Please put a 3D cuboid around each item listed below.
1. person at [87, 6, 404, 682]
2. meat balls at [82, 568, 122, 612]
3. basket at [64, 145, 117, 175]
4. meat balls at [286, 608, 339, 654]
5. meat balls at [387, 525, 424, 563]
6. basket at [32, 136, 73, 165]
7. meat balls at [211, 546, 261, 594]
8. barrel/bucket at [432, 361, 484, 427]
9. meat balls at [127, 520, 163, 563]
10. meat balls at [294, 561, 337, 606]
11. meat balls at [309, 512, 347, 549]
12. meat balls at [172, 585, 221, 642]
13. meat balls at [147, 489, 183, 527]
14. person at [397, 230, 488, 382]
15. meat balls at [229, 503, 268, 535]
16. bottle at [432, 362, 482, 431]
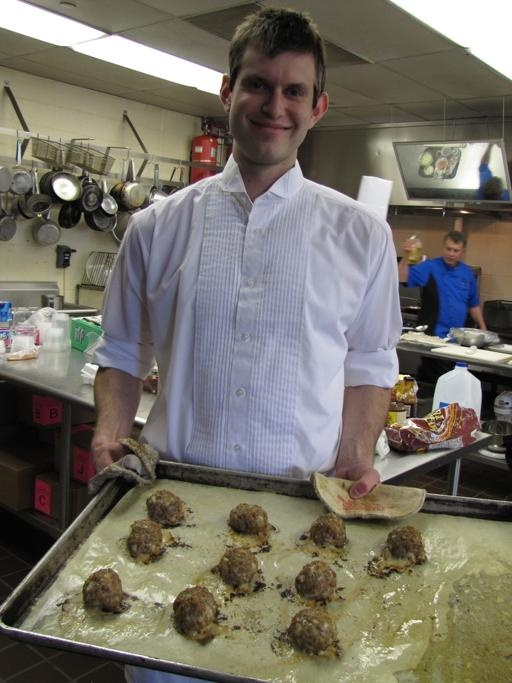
[{"bbox_3d":[-0.024,-0.155,1.049,0.626,0.850,0.350,7,9,13],"label":"person"},{"bbox_3d":[-0.195,0.313,0.683,0.053,0.046,0.053,5,8,-1],"label":"meat balls"},{"bbox_3d":[-1.242,-1.322,3.997,0.246,0.142,0.368,28,16,26],"label":"basket"},{"bbox_3d":[0.066,0.345,0.652,0.068,0.041,0.073,-3,-1,0],"label":"meat balls"},{"bbox_3d":[0.236,0.315,0.848,0.064,0.043,0.066,5,8,-1],"label":"meat balls"},{"bbox_3d":[-1.485,-1.352,3.856,0.239,0.183,0.291,2,9,-20],"label":"basket"},{"bbox_3d":[-0.016,0.321,0.761,0.064,0.040,0.060,5,8,-1],"label":"meat balls"},{"bbox_3d":[0.901,0.201,2.435,0.213,0.346,0.194,3,5,0],"label":"barrel/bucket"},{"bbox_3d":[-0.175,0.305,0.842,0.058,0.032,0.088,1,15,-7],"label":"meat balls"},{"bbox_3d":[0.080,0.325,0.729,0.053,0.046,0.049,-1,-8,0],"label":"meat balls"},{"bbox_3d":[0.125,0.304,0.868,0.072,0.047,0.043,2,9,-21],"label":"meat balls"},{"bbox_3d":[-0.075,0.329,0.677,0.051,0.041,0.083,-1,-12,16],"label":"meat balls"},{"bbox_3d":[-0.152,0.279,0.907,0.066,0.046,0.061,5,8,-1],"label":"meat balls"},{"bbox_3d":[1.546,-0.410,4.572,0.711,1.379,0.655,-7,13,-36],"label":"person"},{"bbox_3d":[-0.014,0.287,0.866,0.054,0.028,0.051,3,2,0],"label":"meat balls"},{"bbox_3d":[0.888,0.204,2.402,0.214,0.299,0.234,0,11,0],"label":"bottle"}]
